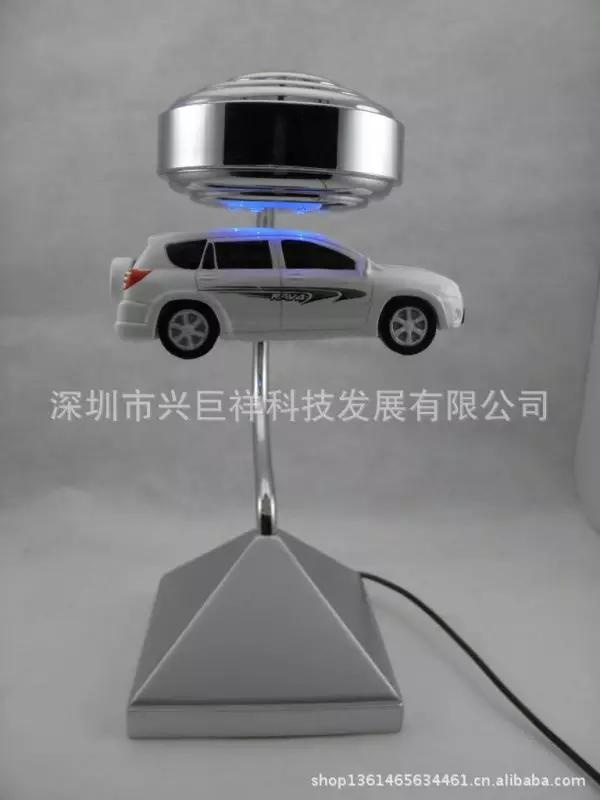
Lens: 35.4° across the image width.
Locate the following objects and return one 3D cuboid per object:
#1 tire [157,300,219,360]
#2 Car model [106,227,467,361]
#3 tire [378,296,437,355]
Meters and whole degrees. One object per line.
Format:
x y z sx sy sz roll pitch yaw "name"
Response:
-0.217 -0.139 1.802 0.123 0.105 0.037 1 4 -3 "tire"
-0.028 -0.222 1.911 0.689 0.210 0.266 -1 12 -4 "Car model"
0.227 -0.145 1.859 0.126 0.112 0.045 2 4 36 "tire"
